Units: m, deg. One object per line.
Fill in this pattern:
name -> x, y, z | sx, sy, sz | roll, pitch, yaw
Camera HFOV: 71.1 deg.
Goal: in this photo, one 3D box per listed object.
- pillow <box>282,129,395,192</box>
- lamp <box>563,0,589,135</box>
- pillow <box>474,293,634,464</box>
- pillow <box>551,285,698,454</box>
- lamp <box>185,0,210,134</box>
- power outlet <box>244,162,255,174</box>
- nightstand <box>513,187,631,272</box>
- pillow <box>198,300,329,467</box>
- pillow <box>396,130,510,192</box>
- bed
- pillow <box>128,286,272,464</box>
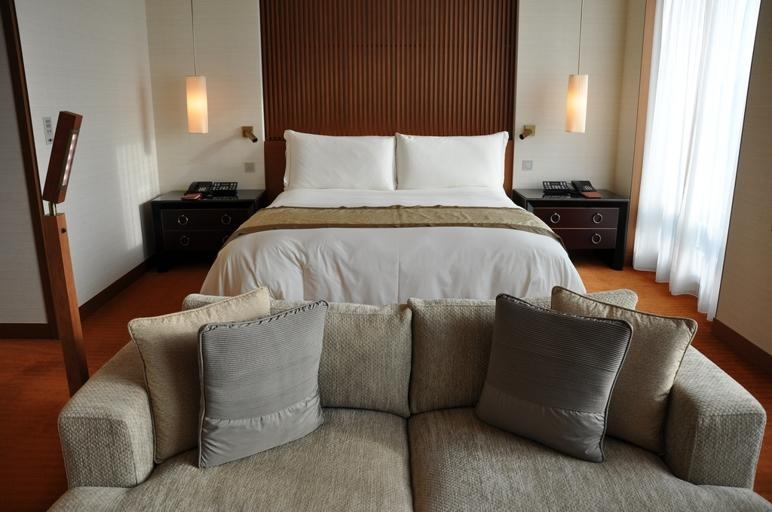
pillow -> -0.420, -0.888, 5.207 | 1.093, 0.655, 0.226 | -1, 1, -13
lamp -> 1.892, -1.838, 5.282 | 0.225, 1.270, 0.361 | 4, 18, 17
pillow -> 0.739, 0.556, 2.333 | 0.552, 0.560, 0.215 | 17, 4, 27
pillow -> 1.014, 0.540, 2.581 | 0.343, 0.659, 0.804 | 3, 5, -36
lamp -> -1.883, -1.836, 5.272 | 0.224, 1.266, 0.335 | -7, 18, -18
power outlet -> -1.419, -0.903, 5.545 | 0.101, 0.094, 0.024 | -3, 1, 2
nightstand -> 1.924, -0.293, 5.559 | 0.934, 0.697, 0.602 | 2, 25, 14
pillow -> -0.534, 0.566, 2.298 | 0.604, 0.598, 0.216 | -6, 8, -30
pillow -> 0.613, -0.870, 5.210 | 1.085, 0.635, 0.242 | -1, 2, 7
bed -> 0.148, -0.454, 4.459 | 2.627, 1.068, 2.270 | 1, 16, 8
pillow -> -0.785, 0.543, 2.305 | 0.219, 0.627, 0.665 | -2, 5, 45
